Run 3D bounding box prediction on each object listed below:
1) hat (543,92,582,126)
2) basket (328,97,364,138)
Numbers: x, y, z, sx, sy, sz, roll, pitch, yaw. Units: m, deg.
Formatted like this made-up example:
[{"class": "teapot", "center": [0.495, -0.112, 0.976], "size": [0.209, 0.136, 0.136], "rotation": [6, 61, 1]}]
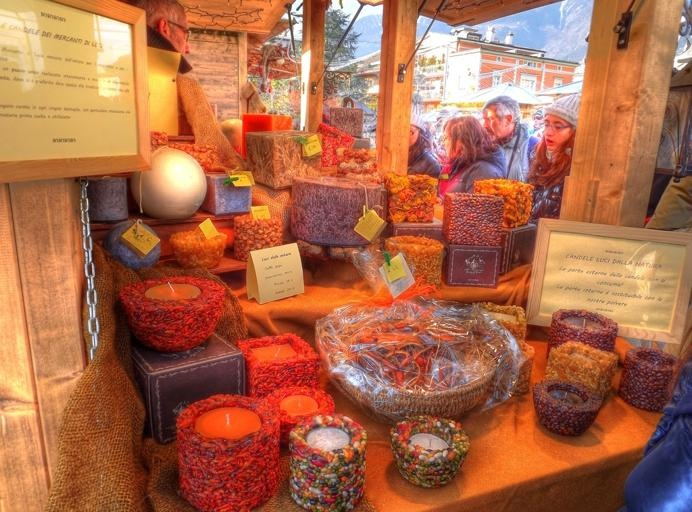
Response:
[{"class": "hat", "center": [1.809, -1.228, 3.820], "size": [0.267, 0.256, 0.169], "rotation": [11, 22, 32]}, {"class": "basket", "center": [0.000, -0.974, 3.333], "size": [0.238, 0.212, 0.140], "rotation": [-2, 19, -3]}]
